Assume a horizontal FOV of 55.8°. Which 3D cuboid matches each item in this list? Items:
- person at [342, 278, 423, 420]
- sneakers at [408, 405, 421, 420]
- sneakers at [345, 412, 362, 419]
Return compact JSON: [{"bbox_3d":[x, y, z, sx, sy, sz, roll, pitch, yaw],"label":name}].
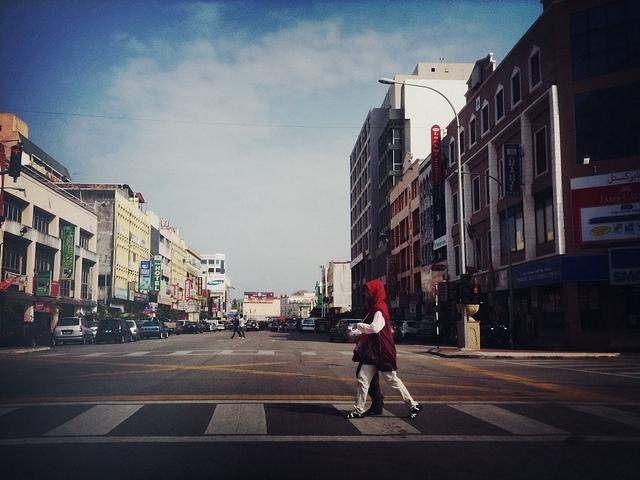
[{"bbox_3d":[1.037,1.920,10.829,1.134,2.477,0.706,-2,-10,3],"label":"person"},{"bbox_3d":[1.681,3.064,10.797,0.120,0.273,0.374,-3,6,13],"label":"sneakers"},{"bbox_3d":[0.611,3.125,10.813,0.320,0.157,0.117,-2,-3,-6],"label":"sneakers"}]
